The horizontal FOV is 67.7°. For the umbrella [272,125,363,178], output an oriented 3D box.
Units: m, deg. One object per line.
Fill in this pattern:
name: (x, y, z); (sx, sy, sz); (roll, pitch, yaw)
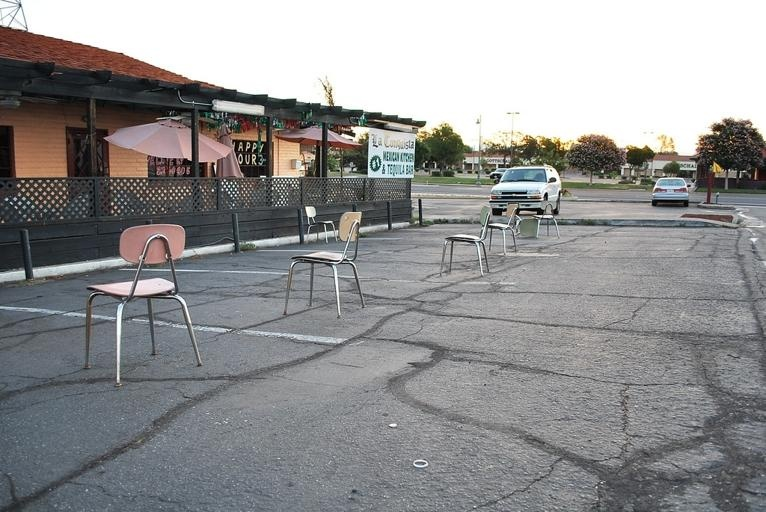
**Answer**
umbrella: (-2.734, -4.182, 21.793); (2.657, 1.449, 2.449); (1, 8, 10)
